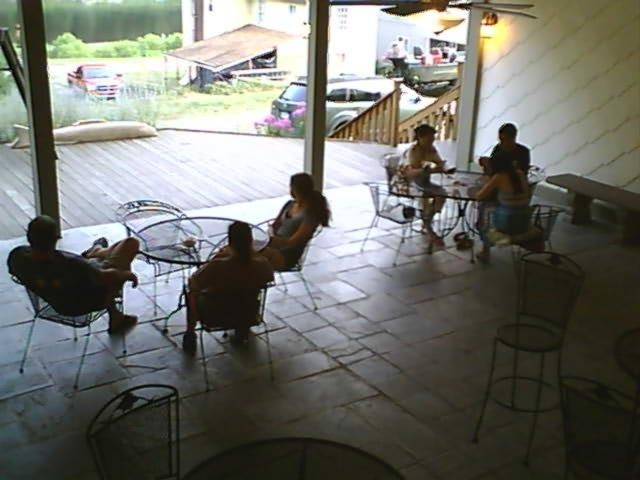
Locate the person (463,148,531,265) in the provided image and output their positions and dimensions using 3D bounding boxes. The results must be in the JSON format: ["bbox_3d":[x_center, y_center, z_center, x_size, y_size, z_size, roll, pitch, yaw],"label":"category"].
[{"bbox_3d":[2.039,-0.500,5.694,0.649,0.997,0.869,10,25,15],"label":"person"}]

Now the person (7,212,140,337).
[{"bbox_3d":[-1.846,0.343,3.997,0.628,1.159,0.770,13,27,20],"label":"person"}]

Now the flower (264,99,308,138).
[{"bbox_3d":[-0.853,-2.813,12.478,1.075,0.760,1.663,14,23,-7],"label":"flower"}]

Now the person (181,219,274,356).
[{"bbox_3d":[-0.718,0.418,3.929,0.651,1.171,0.582,-8,27,-22],"label":"person"}]
